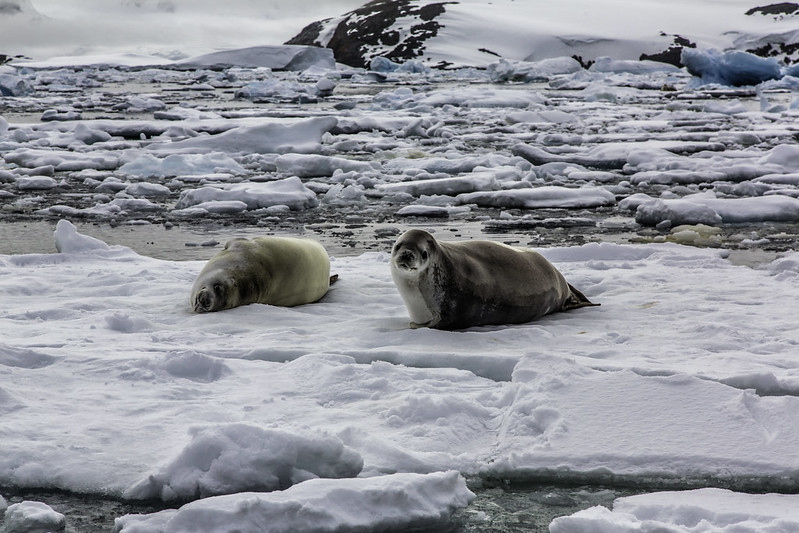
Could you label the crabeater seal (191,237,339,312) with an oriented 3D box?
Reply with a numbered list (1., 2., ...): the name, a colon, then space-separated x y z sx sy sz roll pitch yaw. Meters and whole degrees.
1. crabeater seal: -2.079 0.120 20.410 2.081 1.042 0.615 -2 12 -20
